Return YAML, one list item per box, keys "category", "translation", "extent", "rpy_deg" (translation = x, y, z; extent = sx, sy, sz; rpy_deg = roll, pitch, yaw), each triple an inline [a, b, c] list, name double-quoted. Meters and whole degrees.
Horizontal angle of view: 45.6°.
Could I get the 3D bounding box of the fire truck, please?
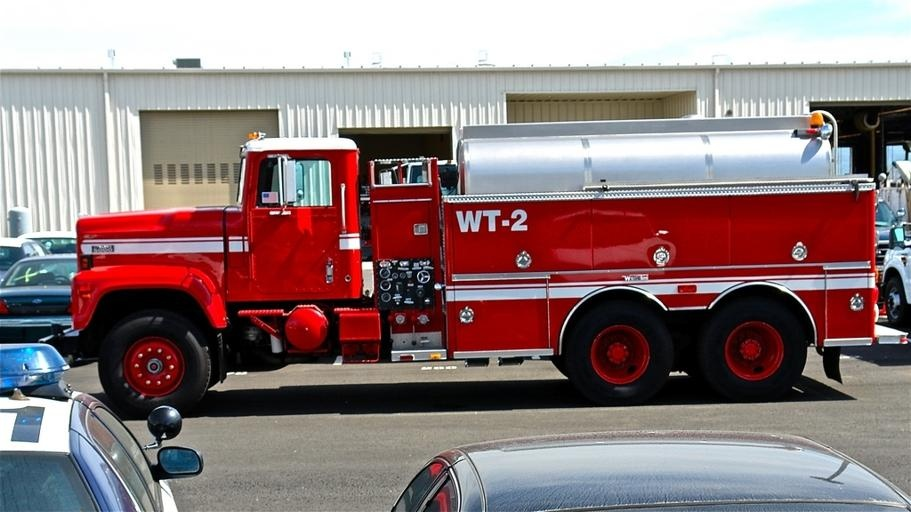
- category: "fire truck"
  translation: [0.312, 0.434, 22.644]
  extent: [15.203, 5.751, 4.795]
  rpy_deg: [-2, 0, -1]
